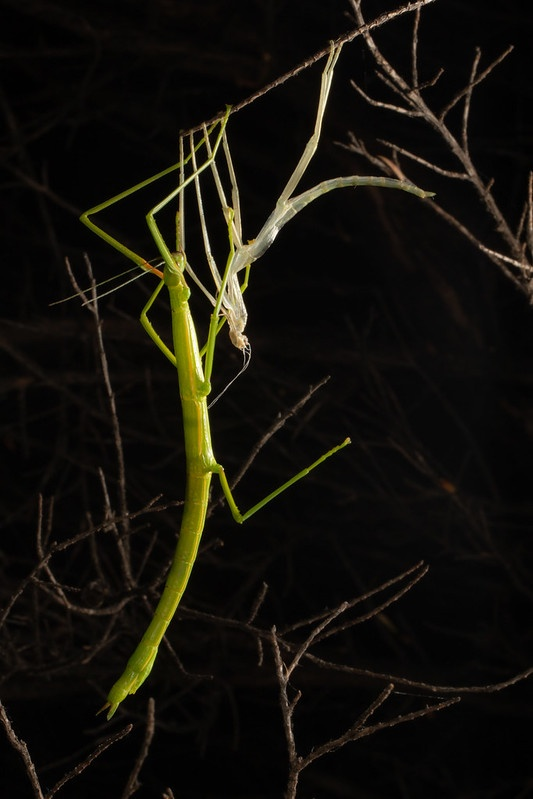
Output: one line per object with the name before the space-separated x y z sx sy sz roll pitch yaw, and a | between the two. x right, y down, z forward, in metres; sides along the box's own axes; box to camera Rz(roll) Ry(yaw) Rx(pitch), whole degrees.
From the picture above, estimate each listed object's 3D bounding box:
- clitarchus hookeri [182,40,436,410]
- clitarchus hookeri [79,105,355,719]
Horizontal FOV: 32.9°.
clitarchus hookeri | 0.000 -0.247 1.364 0.526 0.372 0.160 -52 -24 9
clitarchus hookeri | -0.147 0.039 1.296 0.143 0.533 0.819 4 -81 39
